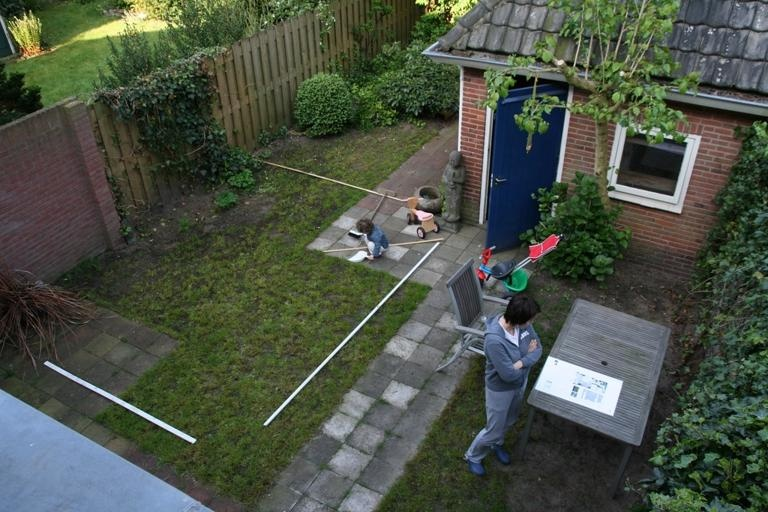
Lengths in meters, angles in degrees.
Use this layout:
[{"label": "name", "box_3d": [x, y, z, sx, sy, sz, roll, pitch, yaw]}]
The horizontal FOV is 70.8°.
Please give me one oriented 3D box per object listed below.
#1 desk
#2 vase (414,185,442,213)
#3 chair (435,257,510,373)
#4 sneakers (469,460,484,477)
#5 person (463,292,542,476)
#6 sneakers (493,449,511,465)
[{"label": "desk", "box_3d": [2.679, 2.416, 7.579, 1.619, 1.529, 3.063, 17, 49, 21]}, {"label": "vase", "box_3d": [0.856, -1.065, 10.241, 0.493, 0.380, 0.613, -2, 37, 2]}, {"label": "chair", "box_3d": [1.236, 0.881, 7.544, 0.918, 1.213, 0.760, 22, 53, 31]}, {"label": "sneakers", "box_3d": [1.133, 2.596, 6.580, 0.110, 0.090, 0.215, -18, 25, -22]}, {"label": "person", "box_3d": [1.427, 1.566, 6.373, 0.745, 2.344, 0.598, -14, 24, -35]}, {"label": "sneakers", "box_3d": [1.463, 2.487, 6.683, 0.116, 0.086, 0.212, -37, 38, -8]}]
